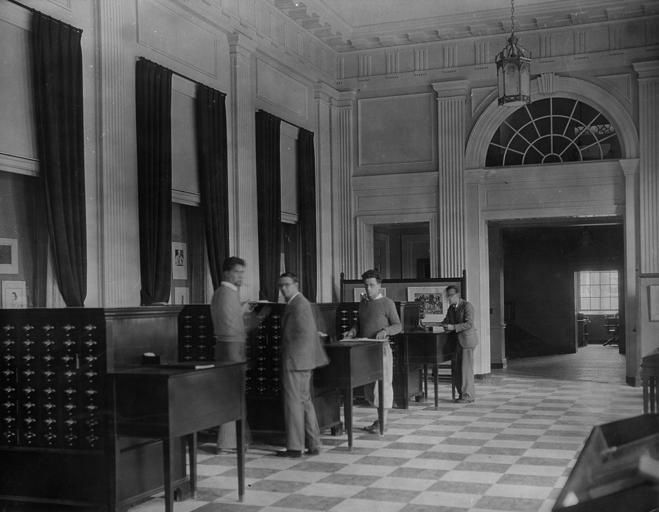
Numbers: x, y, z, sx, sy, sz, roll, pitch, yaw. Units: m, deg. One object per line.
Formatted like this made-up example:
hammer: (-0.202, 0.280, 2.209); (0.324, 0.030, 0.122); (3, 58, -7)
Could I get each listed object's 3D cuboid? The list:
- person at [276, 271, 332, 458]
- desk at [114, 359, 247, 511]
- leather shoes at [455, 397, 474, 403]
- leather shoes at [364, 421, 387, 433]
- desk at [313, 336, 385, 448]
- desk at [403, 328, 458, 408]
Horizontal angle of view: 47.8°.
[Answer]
person: (-0.330, 1.283, 8.752); (0.509, 2.150, 0.349); (0, -1, -24)
desk: (-1.438, 1.686, 6.951); (0.538, 1.232, 1.339); (-1, -3, 13)
leather shoes: (2.238, 2.401, 12.332); (0.291, 0.147, 0.114); (5, -4, 1)
leather shoes: (0.584, 2.291, 10.000); (0.343, 0.165, 0.134); (-2, -6, 24)
desk: (0.161, 1.806, 9.467); (0.696, 1.020, 1.006); (7, -14, -34)
desk: (1.589, 1.810, 12.006); (0.699, 1.237, 1.036); (0, -1, 16)
